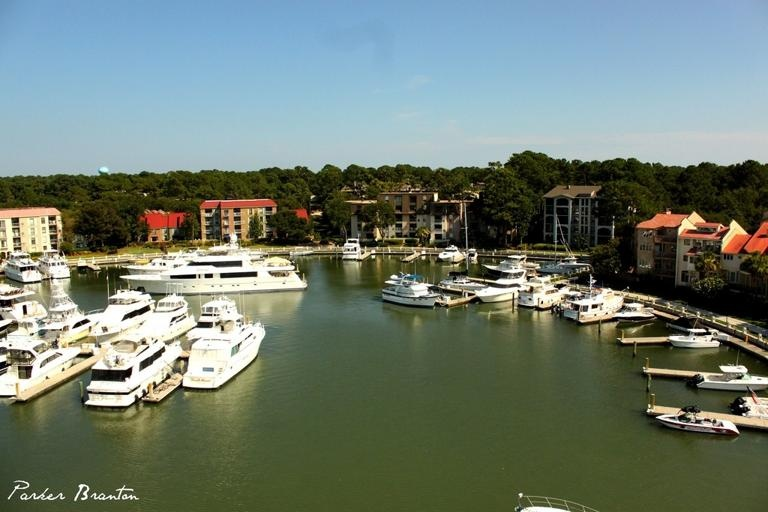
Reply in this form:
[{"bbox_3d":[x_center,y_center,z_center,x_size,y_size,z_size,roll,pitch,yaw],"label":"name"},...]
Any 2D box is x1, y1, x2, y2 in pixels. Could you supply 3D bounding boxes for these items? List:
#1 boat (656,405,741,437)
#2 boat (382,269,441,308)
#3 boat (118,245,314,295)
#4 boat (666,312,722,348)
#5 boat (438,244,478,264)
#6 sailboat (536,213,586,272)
[{"bbox_3d":[22.097,11.750,44.114,6.341,2.289,1.831,0,-1,16],"label":"boat"},{"bbox_3d":[2.745,3.960,72.564,8.554,3.713,2.896,7,8,44],"label":"boat"},{"bbox_3d":[-18.763,2.602,79.284,27.064,6.008,7.665,1,-2,-9],"label":"boat"},{"bbox_3d":[28.325,7.049,57.136,4.566,2.859,3.228,-3,-11,18],"label":"boat"},{"bbox_3d":[12.813,-0.055,102.715,2.608,2.672,8.857,-4,-5,34],"label":"boat"},{"bbox_3d":[26.914,-1.721,93.119,6.360,5.358,29.864,3,12,14],"label":"sailboat"}]
